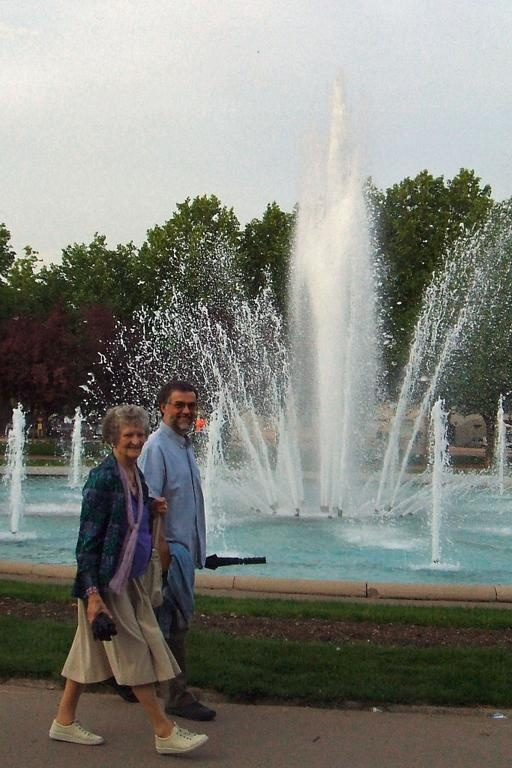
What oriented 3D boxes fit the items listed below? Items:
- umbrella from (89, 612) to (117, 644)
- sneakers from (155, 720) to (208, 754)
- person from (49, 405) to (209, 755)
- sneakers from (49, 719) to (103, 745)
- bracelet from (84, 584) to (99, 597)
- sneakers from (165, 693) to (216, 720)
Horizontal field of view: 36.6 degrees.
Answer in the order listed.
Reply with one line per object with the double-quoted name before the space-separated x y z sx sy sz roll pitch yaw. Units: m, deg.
"umbrella" -0.665 1.092 3.484 0.099 0.143 0.125 0 -5 19
"sneakers" -0.339 1.662 3.624 0.264 0.137 0.104 -4 4 -1
"person" -0.608 0.905 3.722 0.604 1.627 0.492 3 -5 -22
"sneakers" -0.859 1.676 3.755 0.271 0.105 0.096 4 -3 3
"bracelet" -0.748 0.941 3.533 0.059 0.028 0.074 4 -8 -10
"sneakers" -0.343 1.704 4.059 0.288 0.117 0.117 1 0 17
